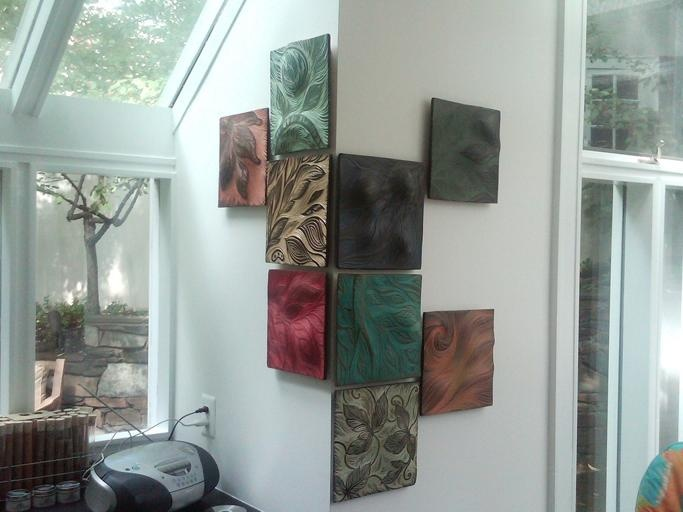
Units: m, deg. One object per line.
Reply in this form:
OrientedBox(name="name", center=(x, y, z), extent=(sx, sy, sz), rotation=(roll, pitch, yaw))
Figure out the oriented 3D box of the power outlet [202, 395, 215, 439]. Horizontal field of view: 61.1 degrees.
OrientedBox(name="power outlet", center=(-0.455, 0.553, 1.984), extent=(0.017, 0.173, 0.098), rotation=(-7, -16, 22))
